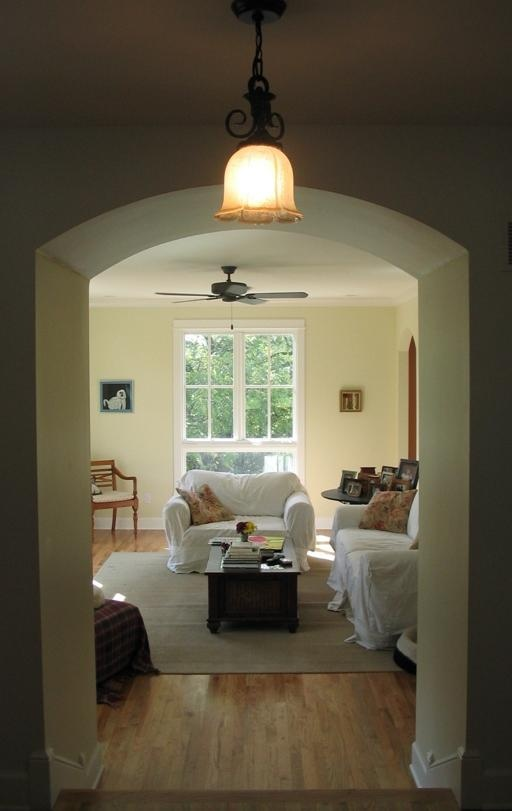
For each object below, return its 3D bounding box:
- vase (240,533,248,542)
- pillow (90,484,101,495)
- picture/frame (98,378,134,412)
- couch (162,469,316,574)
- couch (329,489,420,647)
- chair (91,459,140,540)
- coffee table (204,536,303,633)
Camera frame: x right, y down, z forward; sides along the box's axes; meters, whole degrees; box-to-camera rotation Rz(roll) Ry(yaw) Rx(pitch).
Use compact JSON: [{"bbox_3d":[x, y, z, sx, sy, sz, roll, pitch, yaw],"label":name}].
[{"bbox_3d":[-0.084,0.939,4.494,0.053,0.067,0.056,1,0,-7],"label":"vase"},{"bbox_3d":[-1.658,0.874,6.513,0.078,0.102,0.212,-2,2,-11],"label":"pillow"},{"bbox_3d":[-1.547,-0.119,6.998,0.330,0.366,0.041,-1,-2,1],"label":"picture/frame"},{"bbox_3d":[-0.107,1.058,5.740,1.049,0.688,0.862,0,-3,-2],"label":"couch"},{"bbox_3d":[0.884,1.011,4.409,0.641,0.766,1.411,-1,4,0],"label":"couch"},{"bbox_3d":[-1.609,0.988,6.712,0.514,0.853,0.496,1,-4,-37],"label":"chair"},{"bbox_3d":[-0.021,1.157,4.437,0.667,0.484,0.936,-1,17,-2],"label":"coffee table"}]
